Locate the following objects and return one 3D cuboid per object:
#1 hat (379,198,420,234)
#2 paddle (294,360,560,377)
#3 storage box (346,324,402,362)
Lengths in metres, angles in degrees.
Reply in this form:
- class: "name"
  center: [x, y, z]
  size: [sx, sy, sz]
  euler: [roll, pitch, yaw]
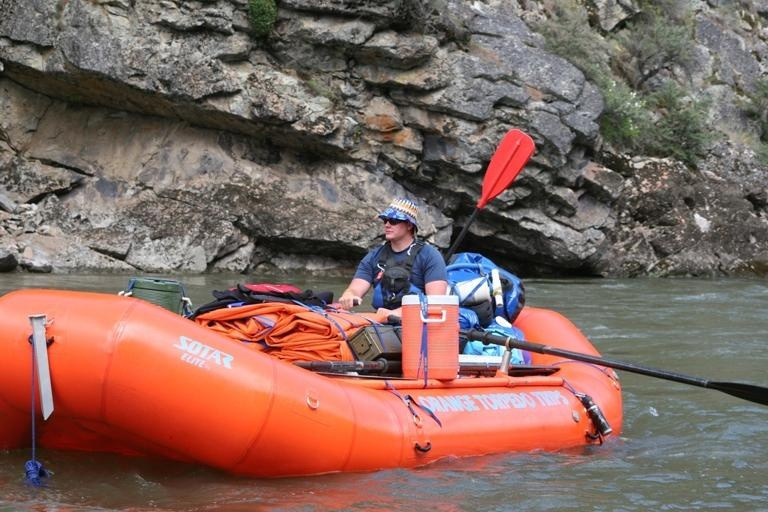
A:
- class: "hat"
  center: [0.329, -0.588, 14.154]
  size: [0.601, 0.266, 0.462]
  euler: [25, -18, -38]
- class: "paddle"
  center: [0.408, 1.439, 13.035]
  size: [2.576, 0.168, 0.188]
  euler: [2, 7, -7]
- class: "storage box"
  center: [-0.080, 1.105, 13.298]
  size: [0.383, 0.381, 0.658]
  euler: [-17, -12, 29]
